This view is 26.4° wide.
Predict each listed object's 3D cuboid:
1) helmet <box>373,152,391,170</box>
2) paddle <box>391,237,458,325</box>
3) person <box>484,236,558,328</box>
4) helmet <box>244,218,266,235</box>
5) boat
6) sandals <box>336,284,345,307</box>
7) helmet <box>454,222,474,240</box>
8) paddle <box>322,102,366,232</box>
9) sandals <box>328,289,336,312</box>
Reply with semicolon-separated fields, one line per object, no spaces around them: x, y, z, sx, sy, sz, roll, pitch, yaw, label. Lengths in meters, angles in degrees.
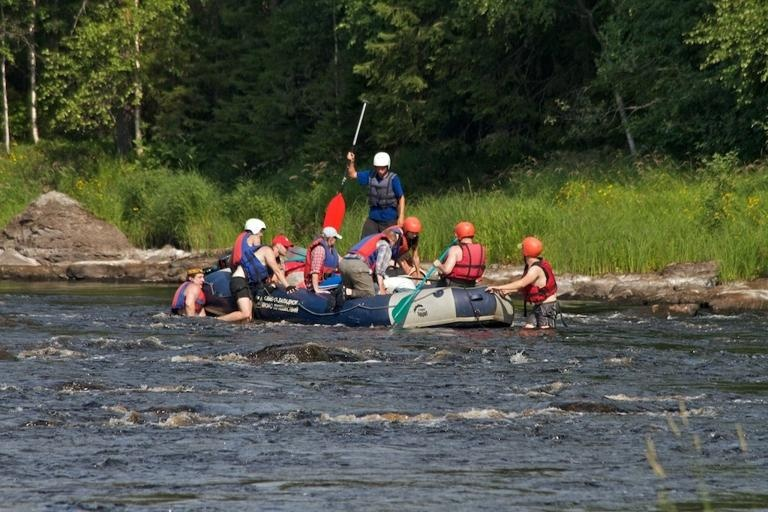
-0.010;-2.670;46.717;0.496;0.474;0.644;0;8;5;helmet
1.137;0.789;44.817;0.393;3.175;0.239;43;-8;14;paddle
3.961;0.753;43.827;1.467;2.433;0.866;-2;2;4;person
-3.558;-0.801;45.402;0.610;0.442;0.432;-2;0;-5;helmet
-0.476;1.144;44.542;5.778;0.923;2.862;0;-3;23;boat
-1.129;1.087;44.336;0.259;0.525;0.234;1;-19;24;sandals
2.260;-0.663;44.386;0.407;0.408;0.509;-3;8;-17;helmet
-1.126;-2.276;48.262;0.748;4.581;0.215;-4;41;-27;paddle
-1.373;1.223;44.376;0.224;0.568;0.263;4;-8;24;sandals
